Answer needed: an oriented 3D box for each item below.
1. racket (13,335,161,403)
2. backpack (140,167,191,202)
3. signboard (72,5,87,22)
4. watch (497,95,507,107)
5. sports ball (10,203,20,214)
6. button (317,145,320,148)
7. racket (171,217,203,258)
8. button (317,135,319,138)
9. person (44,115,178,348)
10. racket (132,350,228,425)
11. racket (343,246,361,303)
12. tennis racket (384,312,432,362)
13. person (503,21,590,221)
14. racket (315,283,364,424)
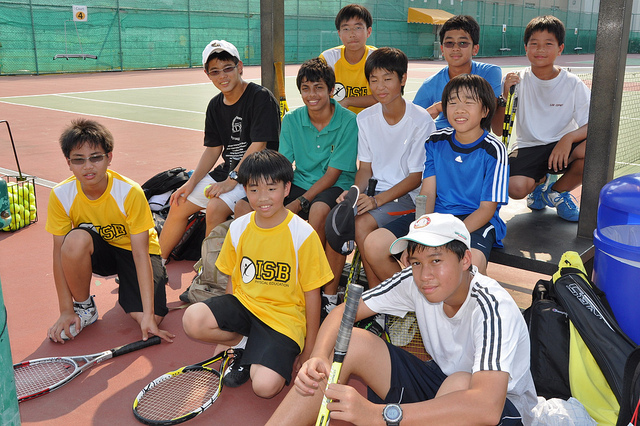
[{"bbox_3d":[-1.676,1.111,3.376,1.032,0.081,0.296,-8,34,-39],"label":"racket"},{"bbox_3d":[-1.744,-0.339,5.003,0.479,0.192,0.360,-26,1,-12],"label":"backpack"},{"bbox_3d":[-11.354,-9.508,21.126,0.857,1.026,0.140,-1,-5,-11],"label":"signboard"},{"bbox_3d":[1.747,-1.078,4.308,0.077,0.096,0.084,11,-11,-15],"label":"watch"},{"bbox_3d":[-3.565,-0.058,5.235,0.102,0.105,0.122,1,-12,-24],"label":"sports ball"},{"bbox_3d":[-0.015,-0.633,4.197,0.023,0.024,0.006,-5,6,4],"label":"button"},{"bbox_3d":[-1.424,0.267,4.779,0.360,0.432,0.055,0,14,6],"label":"racket"},{"bbox_3d":[-0.020,-0.725,4.180,0.018,0.019,0.005,-2,-4,0],"label":"button"},{"bbox_3d":[-1.786,0.116,3.698,1.065,1.770,0.880,-4,14,-8],"label":"person"},{"bbox_3d":[-0.883,1.200,3.010,0.683,0.221,0.434,-11,17,-35],"label":"racket"},{"bbox_3d":[0.240,0.517,3.723,0.126,0.533,0.043,7,26,-15],"label":"racket"},{"bbox_3d":[0.582,0.777,3.085,0.270,0.515,0.088,17,27,16],"label":"tennis racket"},{"bbox_3d":[2.357,-0.977,4.665,0.733,1.962,1.145,6,16,30],"label":"person"},{"bbox_3d":[0.112,0.821,2.519,0.108,1.053,0.095,14,7,7],"label":"racket"}]
